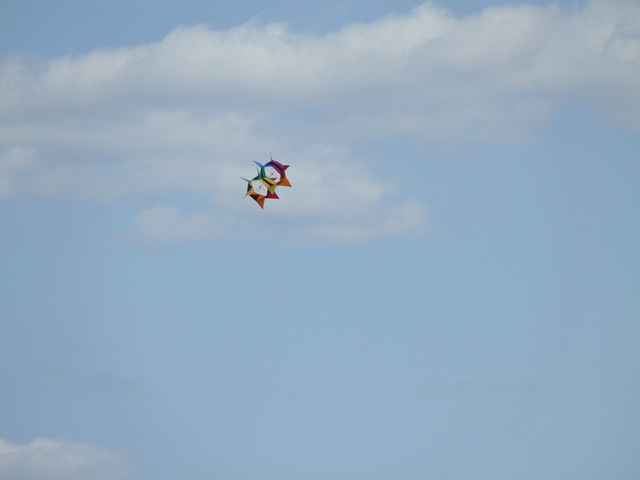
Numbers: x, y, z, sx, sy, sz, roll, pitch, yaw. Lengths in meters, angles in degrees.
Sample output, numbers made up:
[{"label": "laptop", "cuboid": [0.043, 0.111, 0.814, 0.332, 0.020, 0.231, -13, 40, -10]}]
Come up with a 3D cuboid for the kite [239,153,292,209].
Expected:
[{"label": "kite", "cuboid": [-0.285, -0.341, 7.649, 0.299, 0.091, 0.341, -6, -15, 11]}]
